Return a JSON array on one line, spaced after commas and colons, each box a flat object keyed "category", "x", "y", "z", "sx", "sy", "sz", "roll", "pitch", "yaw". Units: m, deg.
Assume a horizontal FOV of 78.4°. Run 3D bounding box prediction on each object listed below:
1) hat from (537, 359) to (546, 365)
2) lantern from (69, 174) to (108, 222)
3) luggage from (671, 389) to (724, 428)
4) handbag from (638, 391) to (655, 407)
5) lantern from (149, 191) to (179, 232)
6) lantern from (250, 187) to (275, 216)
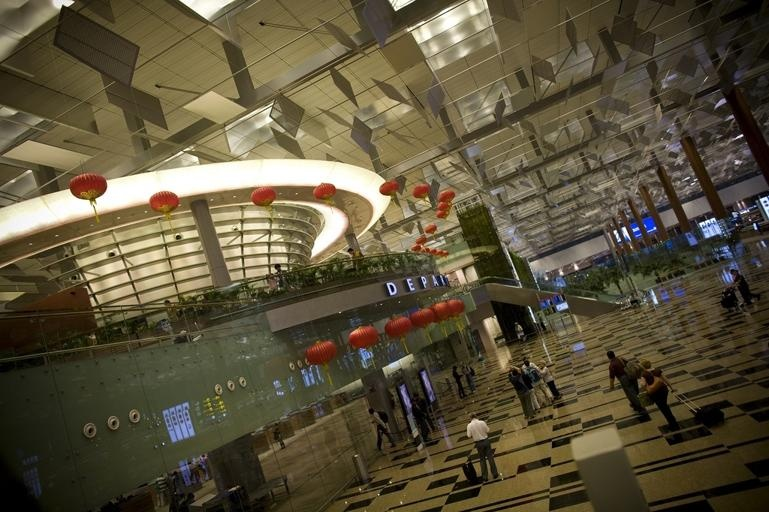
[{"category": "hat", "x": 5.556, "y": 3.755, "z": 16.570, "sx": 0.270, "sy": 0.137, "sz": 0.432, "roll": -4, "pitch": -6, "yaw": 27}, {"category": "lantern", "x": -7.389, "y": -1.722, "z": 11.711, "sx": 0.705, "sy": 0.768, "sz": 0.554, "roll": -21, "pitch": -11, "yaw": 28}, {"category": "luggage", "x": 7.203, "y": 3.484, "z": 11.120, "sx": 0.372, "sy": 0.198, "sz": 1.105, "roll": -15, "pitch": 10, "yaw": 2}, {"category": "handbag", "x": 6.528, "y": 3.563, "z": 11.771, "sx": 0.190, "sy": 0.388, "sz": 0.876, "roll": -20, "pitch": -11, "yaw": 17}, {"category": "lantern", "x": -6.225, "y": -1.316, "z": 13.461, "sx": 0.811, "sy": 1.049, "sz": 0.747, "roll": -13, "pitch": -24, "yaw": -26}, {"category": "lantern", "x": -3.855, "y": -1.884, "z": 14.989, "sx": 0.679, "sy": 0.738, "sz": 0.898, "roll": -13, "pitch": -10, "yaw": -17}]
